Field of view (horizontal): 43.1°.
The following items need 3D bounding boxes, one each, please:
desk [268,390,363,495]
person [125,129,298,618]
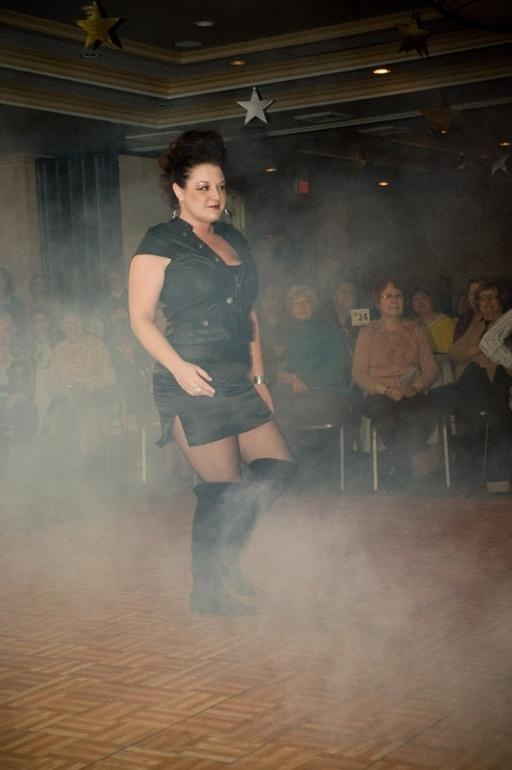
[{"bbox_3d":[0.428,0.359,4.688,0.681,0.783,0.697,0,14,7],"label":"desk"},{"bbox_3d":[-0.141,-0.005,1.881,0.487,1.414,0.319,1,-6,-42],"label":"person"}]
